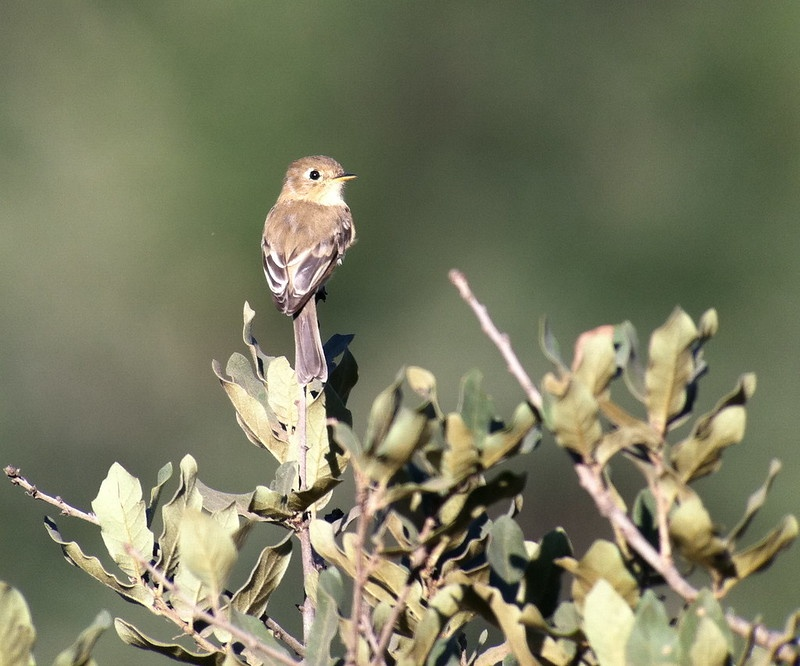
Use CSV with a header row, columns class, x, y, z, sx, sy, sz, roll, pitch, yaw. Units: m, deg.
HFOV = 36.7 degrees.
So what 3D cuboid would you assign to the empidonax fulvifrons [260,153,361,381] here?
class,x,y,z,sx,sy,sz,roll,pitch,yaw
empidonax fulvifrons,-0.306,-0.260,4.021,0.232,0.833,0.381,-8,-42,18
